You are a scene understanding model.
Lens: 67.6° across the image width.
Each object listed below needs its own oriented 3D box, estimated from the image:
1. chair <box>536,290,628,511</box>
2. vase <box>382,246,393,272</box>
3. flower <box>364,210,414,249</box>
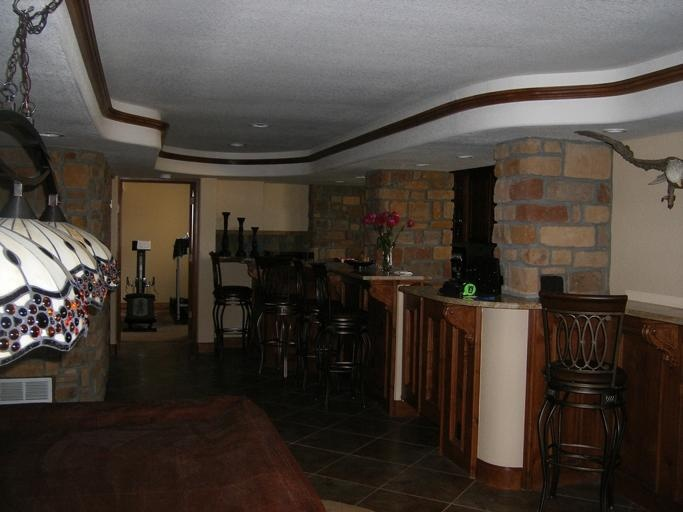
[{"bbox_3d":[1.655,0.958,3.531,0.546,1.481,0.781,4,4,29],"label":"chair"},{"bbox_3d":[0.494,0.032,5.549,0.118,0.278,0.057,5,5,41],"label":"vase"},{"bbox_3d":[0.479,-0.244,5.680,0.423,0.437,0.448,-3,-12,11],"label":"flower"}]
